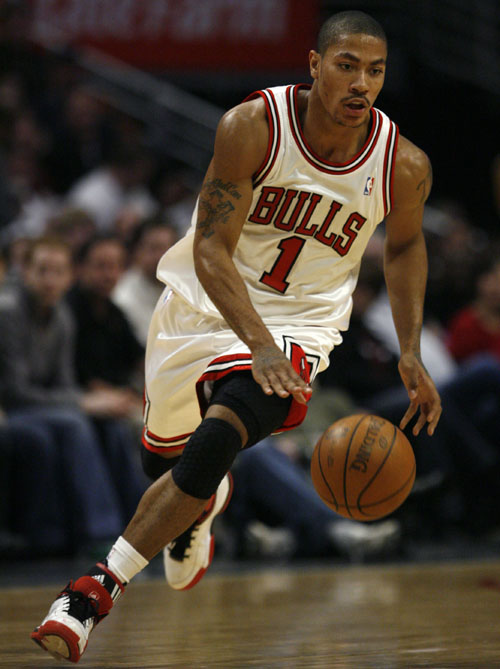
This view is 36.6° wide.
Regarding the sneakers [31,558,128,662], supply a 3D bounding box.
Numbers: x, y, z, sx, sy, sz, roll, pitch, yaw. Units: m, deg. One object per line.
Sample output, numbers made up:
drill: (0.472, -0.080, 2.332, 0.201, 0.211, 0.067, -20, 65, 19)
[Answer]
sneakers: (-0.381, 0.635, 1.771, 0.106, 0.313, 0.141, 41, 86, 3)
